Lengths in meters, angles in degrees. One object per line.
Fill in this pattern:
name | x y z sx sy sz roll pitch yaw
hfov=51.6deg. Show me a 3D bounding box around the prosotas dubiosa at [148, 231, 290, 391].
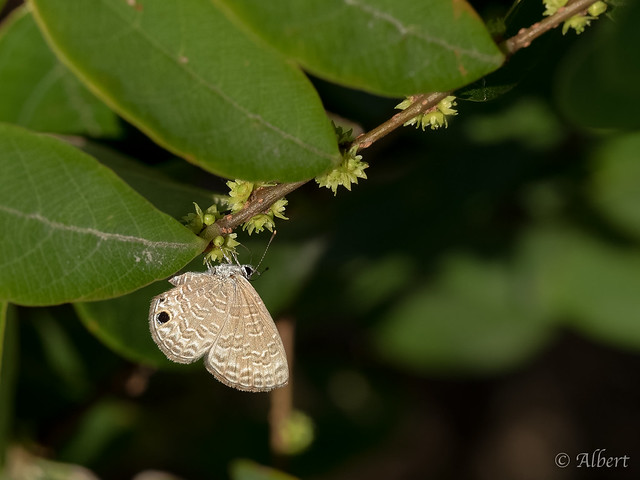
prosotas dubiosa | -0.170 0.170 1.443 0.175 0.282 0.351 3 -3 -1
